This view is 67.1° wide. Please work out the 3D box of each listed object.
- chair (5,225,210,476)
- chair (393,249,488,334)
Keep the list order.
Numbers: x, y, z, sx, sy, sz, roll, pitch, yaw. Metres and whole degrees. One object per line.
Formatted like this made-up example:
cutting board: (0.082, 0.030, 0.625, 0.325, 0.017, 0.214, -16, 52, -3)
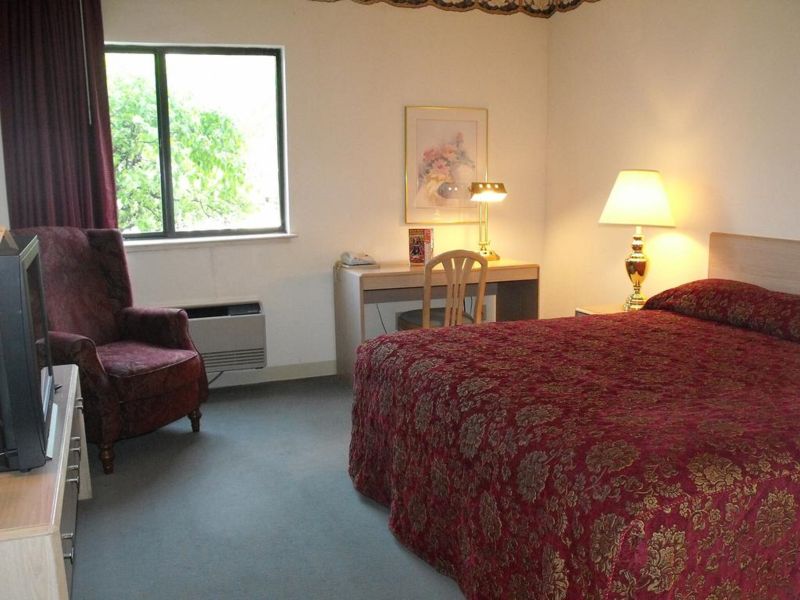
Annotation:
chair: (-1.716, 0.162, 3.747, 1.240, 1.501, 0.984, 6, 8, 33)
chair: (0.254, -0.069, 4.089, 0.400, 0.871, 0.475, -4, 20, -13)
